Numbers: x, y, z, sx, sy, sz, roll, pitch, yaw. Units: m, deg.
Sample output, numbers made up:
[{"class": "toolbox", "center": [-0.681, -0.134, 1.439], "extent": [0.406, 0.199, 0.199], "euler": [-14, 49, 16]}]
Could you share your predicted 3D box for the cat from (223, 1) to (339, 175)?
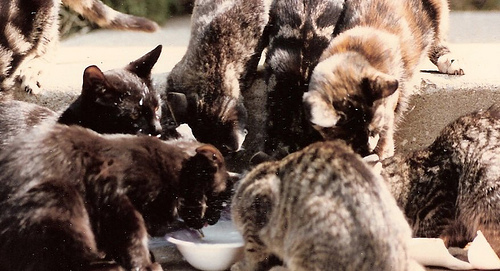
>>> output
[{"class": "cat", "center": [0.326, -0.487, 6.347], "extent": [0.399, 1.586, 0.823], "euler": [21, 23, 6]}]

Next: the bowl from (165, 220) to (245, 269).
[{"class": "bowl", "center": [-0.424, 1.133, 6.303], "extent": [0.609, 0.227, 0.564], "euler": [-2, 11, 0]}]

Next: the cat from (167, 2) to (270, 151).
[{"class": "cat", "center": [-0.347, -0.662, 6.441], "extent": [0.708, 1.909, 0.975], "euler": [7, 26, 4]}]

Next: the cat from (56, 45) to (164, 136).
[{"class": "cat", "center": [-1.282, -0.481, 6.469], "extent": [1.082, 0.891, 0.640], "euler": [8, 24, 17]}]
